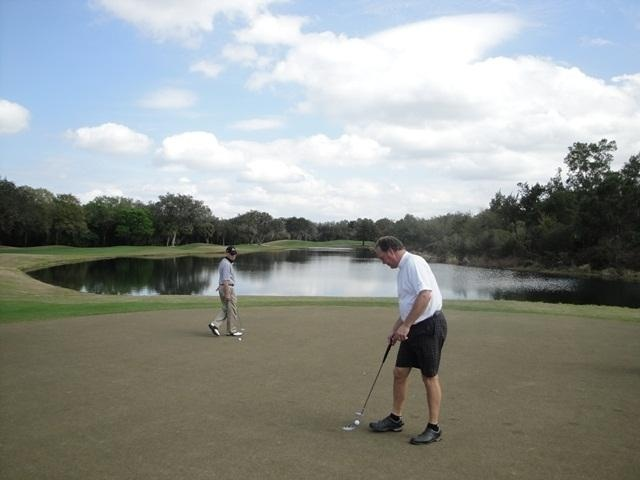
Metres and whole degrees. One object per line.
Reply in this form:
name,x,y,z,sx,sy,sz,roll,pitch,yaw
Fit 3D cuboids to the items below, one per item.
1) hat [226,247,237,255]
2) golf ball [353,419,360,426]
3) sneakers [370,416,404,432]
hat,-2.362,0.278,13.882,0.172,0.218,0.237,-1,-10,-34
golf ball,0.617,3.098,8.790,0.098,0.113,0.077,-3,17,40
sneakers,1.119,3.111,8.830,0.475,0.247,0.249,2,-9,2
